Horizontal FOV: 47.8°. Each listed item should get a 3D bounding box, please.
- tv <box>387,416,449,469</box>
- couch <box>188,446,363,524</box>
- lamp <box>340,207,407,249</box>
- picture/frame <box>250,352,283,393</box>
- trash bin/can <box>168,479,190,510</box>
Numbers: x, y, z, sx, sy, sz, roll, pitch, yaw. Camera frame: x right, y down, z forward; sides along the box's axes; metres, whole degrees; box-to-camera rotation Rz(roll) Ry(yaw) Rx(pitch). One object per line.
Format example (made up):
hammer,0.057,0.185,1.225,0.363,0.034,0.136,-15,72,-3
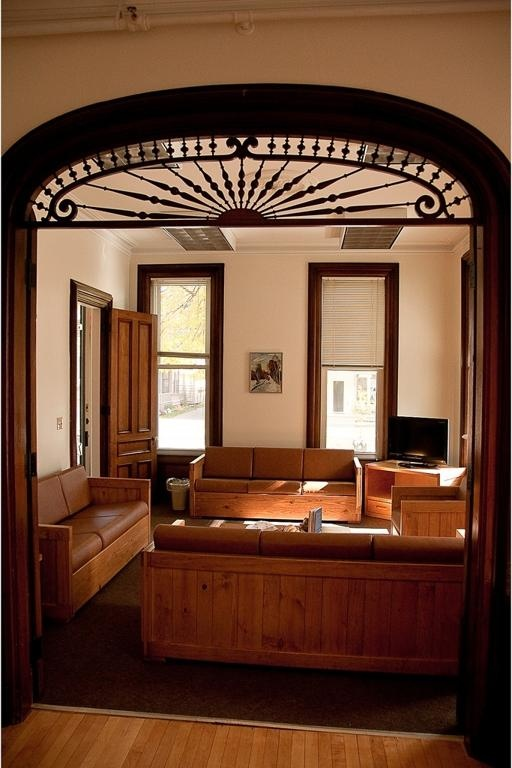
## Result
tv,1.625,0.584,5.746,0.444,0.355,0.122,-1,-6,41
couch,0.201,1.022,5.953,1.691,0.669,0.552,1,2,5
lamp,1.074,-1.451,5.396,0.544,0.242,1.378,1,2,8
picture/frame,0.125,-0.139,6.405,0.409,0.571,0.036,0,2,5
trash bin/can,-0.786,1.143,6.170,0.286,0.316,0.276,1,5,4
